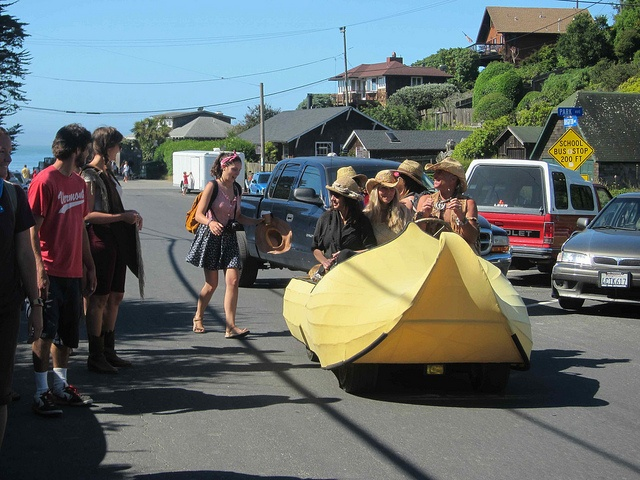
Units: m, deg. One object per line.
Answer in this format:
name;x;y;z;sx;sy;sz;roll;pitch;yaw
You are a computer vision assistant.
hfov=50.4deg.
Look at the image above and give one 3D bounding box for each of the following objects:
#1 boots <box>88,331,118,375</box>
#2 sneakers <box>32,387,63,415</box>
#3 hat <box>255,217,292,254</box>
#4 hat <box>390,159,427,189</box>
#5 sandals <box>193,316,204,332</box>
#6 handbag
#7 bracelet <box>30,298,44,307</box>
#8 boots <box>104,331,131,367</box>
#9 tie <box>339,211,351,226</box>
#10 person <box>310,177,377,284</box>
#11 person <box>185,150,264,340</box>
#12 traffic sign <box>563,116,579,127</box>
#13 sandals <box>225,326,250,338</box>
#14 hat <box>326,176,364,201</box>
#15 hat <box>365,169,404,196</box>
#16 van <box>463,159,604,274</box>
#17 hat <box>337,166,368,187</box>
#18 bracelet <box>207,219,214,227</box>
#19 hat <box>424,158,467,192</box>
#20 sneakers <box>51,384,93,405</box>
boots;-2.344;1.244;7.337;0.367;0.411;0.186;6;6;18
sneakers;-2.496;1.474;6.195;0.129;0.189;0.339;1;-1;-33
hat;-0.644;-0.031;9.538;0.471;0.511;0.146;-34;-1;25
hat;1.161;-0.840;8.514;0.317;0.193;0.338;25;-4;35
sandals;-1.636;1.135;9.137;0.173;0.172;0.535;0;2;-9
handbag;-2.279;-0.228;7.163;0.329;0.898;0.608;-2;10;-5
bracelet;-2.234;0.490;5.342;0.073;0.059;0.087;-6;1;-3
boots;-2.298;1.226;7.578;0.383;0.436;0.196;7;-16;-26
tie;0.270;-0.225;7.440;0.068;0.137;0.096;-13;-14;7
person;0.220;-0.098;7.377;0.733;1.138;0.820;3;6;20
person;-1.290;0.068;8.838;0.830;2.391;0.614;0;5;-4
traffic sign;7.028;-3.309;18.997;0.294;0.222;0.574;2;7;13
sandals;-1.097;1.208;8.898;0.350;0.179;0.129;-3;-3;7
hat;0.271;-0.543;7.359;0.367;0.248;0.281;0;6;-4
hat;0.716;-0.681;7.710;0.238;0.169;0.311;6;-14;-5
van;4.292;-0.775;14.092;2.031;2.089;3.696;1;7;26
hat;0.377;-0.767;7.965;0.275;0.155;0.349;-6;-9;-5
bracelet;-1.387;-0.212;8.623;0.077;0.071;0.178;0;6;-5
hat;1.359;-0.672;7.296;0.380;0.192;0.317;27;-1;5
sneakers;-2.329;1.438;6.430;0.379;0.197;0.166;3;0;-5
